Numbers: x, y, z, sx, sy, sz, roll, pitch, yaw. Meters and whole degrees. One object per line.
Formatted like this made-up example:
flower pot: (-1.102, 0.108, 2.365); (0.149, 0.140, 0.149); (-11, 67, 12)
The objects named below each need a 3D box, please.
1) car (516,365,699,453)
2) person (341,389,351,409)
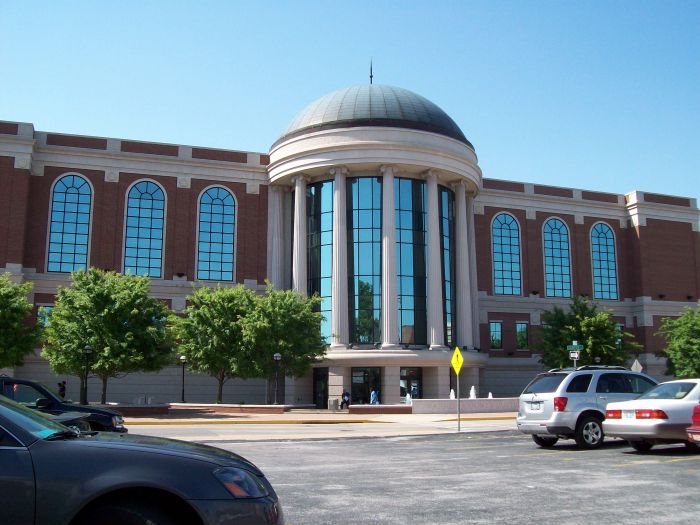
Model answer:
car: (6.116, 3.778, 20.392); (2.900, 2.068, 1.108); (1, -12, -16)
person: (-0.328, 7.942, 45.169); (0.507, 1.060, 0.957); (-1, -11, -6)
